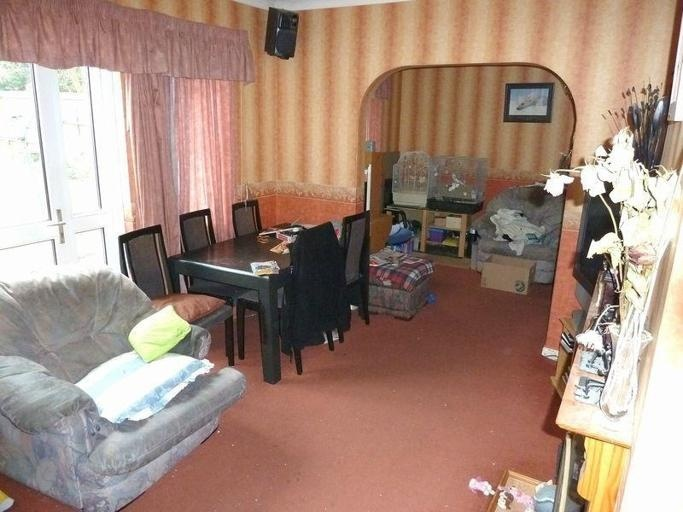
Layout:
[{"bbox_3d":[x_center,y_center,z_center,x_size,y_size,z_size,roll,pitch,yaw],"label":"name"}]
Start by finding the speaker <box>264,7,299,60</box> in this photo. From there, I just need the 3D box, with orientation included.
[{"bbox_3d":[-0.591,-2.209,5.164,0.277,0.555,0.313,30,34,28],"label":"speaker"}]

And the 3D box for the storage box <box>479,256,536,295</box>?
[{"bbox_3d":[1.914,0.196,6.074,0.535,0.294,0.474,9,20,24],"label":"storage box"}]

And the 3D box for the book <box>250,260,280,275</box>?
[{"bbox_3d":[-0.559,0.092,3.895,0.131,0.038,0.134,1,24,-18],"label":"book"}]

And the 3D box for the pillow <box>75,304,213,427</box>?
[{"bbox_3d":[-1.144,0.683,3.175,0.481,0.229,0.665,25,32,19],"label":"pillow"}]

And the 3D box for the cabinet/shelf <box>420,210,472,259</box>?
[{"bbox_3d":[1.446,-0.443,7.407,0.673,0.668,0.688,9,20,18],"label":"cabinet/shelf"}]

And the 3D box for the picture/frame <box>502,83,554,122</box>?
[{"bbox_3d":[2.652,-2.172,7.393,0.547,0.487,0.044,9,20,30],"label":"picture/frame"}]

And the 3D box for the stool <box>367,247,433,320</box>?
[{"bbox_3d":[0.568,0.266,5.246,0.615,0.337,0.629,7,25,24],"label":"stool"}]

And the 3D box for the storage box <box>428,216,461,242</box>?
[{"bbox_3d":[1.457,-0.399,7.425,0.375,0.267,0.365,9,26,30],"label":"storage box"}]

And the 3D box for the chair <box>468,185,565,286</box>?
[{"bbox_3d":[2.263,-0.406,6.716,1.090,0.891,1.238,9,31,27],"label":"chair"}]
